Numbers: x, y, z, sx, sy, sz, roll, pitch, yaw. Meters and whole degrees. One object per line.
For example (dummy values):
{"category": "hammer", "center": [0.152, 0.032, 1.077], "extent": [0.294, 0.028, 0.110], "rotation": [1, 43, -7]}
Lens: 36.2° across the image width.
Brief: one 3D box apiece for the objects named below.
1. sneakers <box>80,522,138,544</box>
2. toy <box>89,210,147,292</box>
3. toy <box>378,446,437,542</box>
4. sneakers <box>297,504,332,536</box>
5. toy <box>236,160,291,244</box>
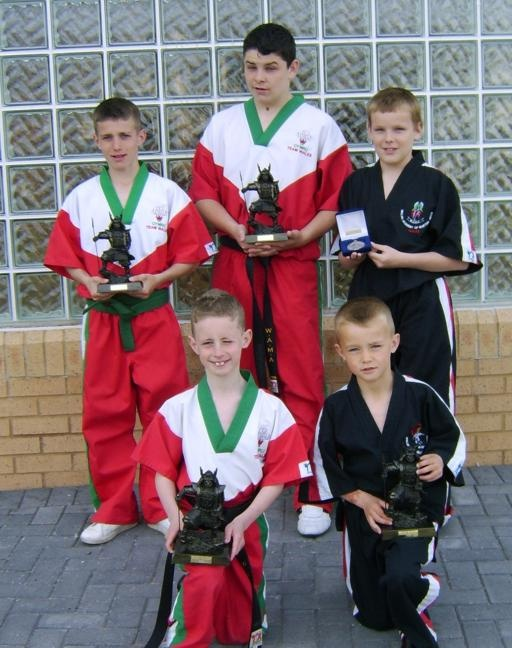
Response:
{"category": "sneakers", "center": [-0.692, 0.967, 3.654], "extent": [0.241, 0.075, 0.079], "rotation": [3, 4, -45]}
{"category": "toy", "center": [-0.637, -0.304, 3.500], "extent": [0.196, 0.345, 0.263], "rotation": [-9, 10, -9]}
{"category": "toy", "center": [0.517, 0.578, 2.734], "extent": [0.179, 0.309, 0.250], "rotation": [-6, 10, 8]}
{"category": "sneakers", "center": [0.265, 0.903, 3.610], "extent": [0.119, 0.057, 0.168], "rotation": [-1, 4, 2]}
{"category": "toy", "center": [0.031, -0.553, 3.639], "extent": [0.191, 0.357, 0.303], "rotation": [-7, 10, 3]}
